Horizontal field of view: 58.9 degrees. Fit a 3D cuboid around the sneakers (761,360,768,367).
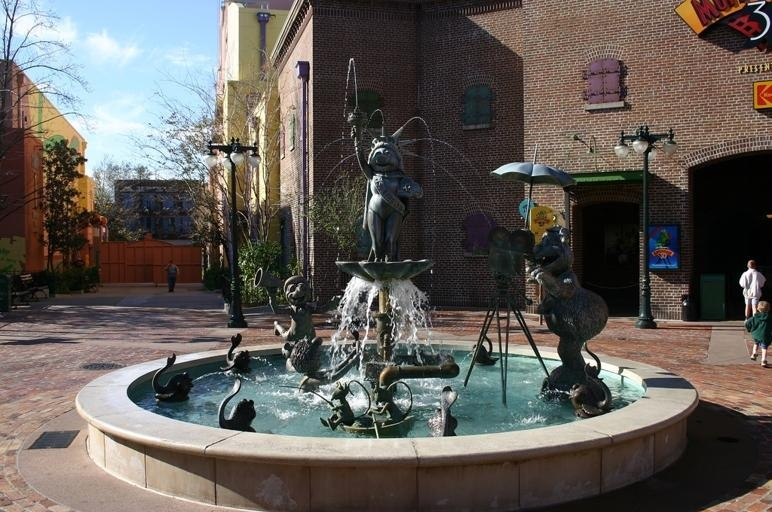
[{"bbox_3d":[8.479,2.450,15.211,0.065,0.085,0.210,-3,-10,14],"label":"sneakers"}]
